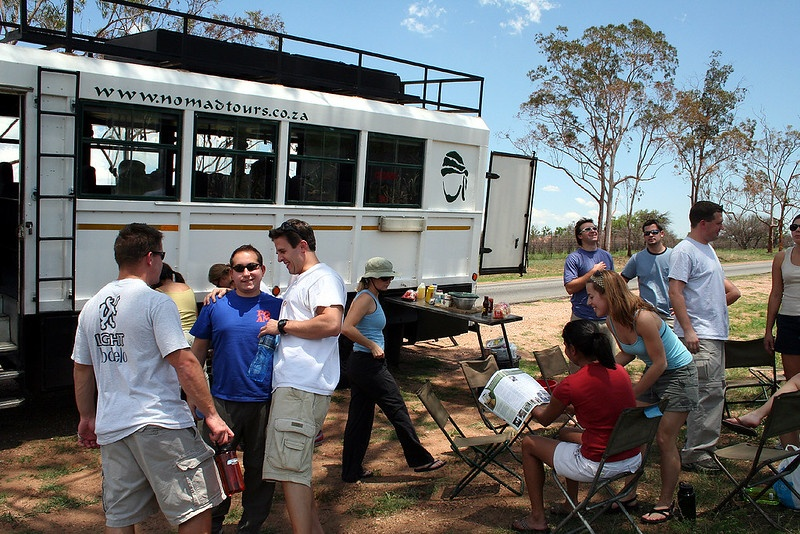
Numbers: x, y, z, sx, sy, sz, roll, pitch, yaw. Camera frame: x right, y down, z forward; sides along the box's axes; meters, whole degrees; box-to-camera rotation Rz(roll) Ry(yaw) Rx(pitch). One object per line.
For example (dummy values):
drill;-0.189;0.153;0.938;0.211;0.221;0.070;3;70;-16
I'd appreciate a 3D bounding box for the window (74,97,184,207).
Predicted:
window;-3.293;-1.435;6.929;1.243;1.158;0.067;2;-3;4

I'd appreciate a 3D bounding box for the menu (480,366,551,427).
menu;1.104;1.205;5.399;0.569;0.624;0.153;27;-27;35

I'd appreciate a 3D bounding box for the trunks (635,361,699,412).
trunks;2.602;1.106;5.515;0.327;0.477;0.545;10;-10;-37

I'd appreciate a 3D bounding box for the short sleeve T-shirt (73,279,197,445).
short sleeve T-shirt;-1.890;0.674;4.077;0.745;1.145;0.226;0;3;8

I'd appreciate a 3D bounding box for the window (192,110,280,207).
window;-2.215;-1.493;7.676;1.162;1.128;0.043;3;1;5

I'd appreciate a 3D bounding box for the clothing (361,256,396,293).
clothing;-0.250;0.083;6.241;0.359;0.250;0.375;-6;-3;-18

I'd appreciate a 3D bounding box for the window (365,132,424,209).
window;-0.138;-1.571;9.047;1.326;1.285;0.092;-1;7;-40

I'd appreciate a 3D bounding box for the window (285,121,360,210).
window;-1.152;-1.476;8.402;1.182;1.146;0.031;-3;14;-38

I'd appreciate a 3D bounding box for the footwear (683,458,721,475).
footwear;3.245;2.129;6.139;0.372;0.173;0.150;-3;-5;14

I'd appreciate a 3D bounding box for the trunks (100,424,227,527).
trunks;-1.705;1.474;4.088;0.674;0.624;0.373;-21;1;6

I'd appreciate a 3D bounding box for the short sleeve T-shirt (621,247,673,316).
short sleeve T-shirt;3.138;0.150;7.065;0.844;0.736;0.417;-2;5;-5

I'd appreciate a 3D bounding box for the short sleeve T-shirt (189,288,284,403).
short sleeve T-shirt;-1.307;0.630;4.909;0.951;0.919;0.377;0;-4;-9
